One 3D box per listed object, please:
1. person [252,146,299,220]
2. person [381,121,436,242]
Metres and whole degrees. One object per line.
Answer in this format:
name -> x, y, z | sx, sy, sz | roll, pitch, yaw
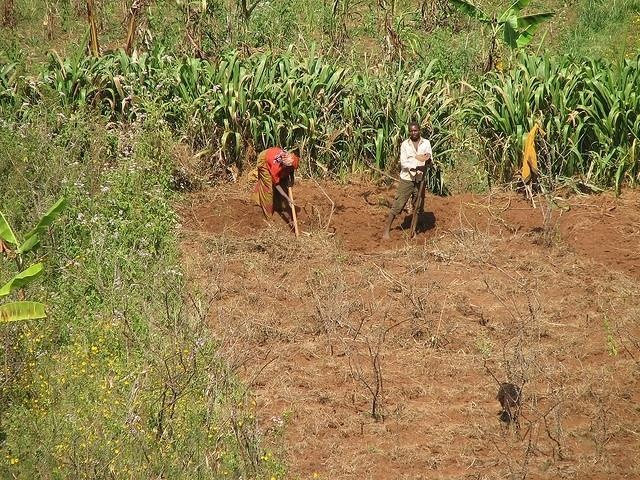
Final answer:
person -> -0.625, -0.811, 9.549 | 0.673, 0.956, 0.399 | 13, 28, 26
person -> 1.215, -0.865, 9.431 | 0.632, 1.594, 0.510 | 1, 24, 4
